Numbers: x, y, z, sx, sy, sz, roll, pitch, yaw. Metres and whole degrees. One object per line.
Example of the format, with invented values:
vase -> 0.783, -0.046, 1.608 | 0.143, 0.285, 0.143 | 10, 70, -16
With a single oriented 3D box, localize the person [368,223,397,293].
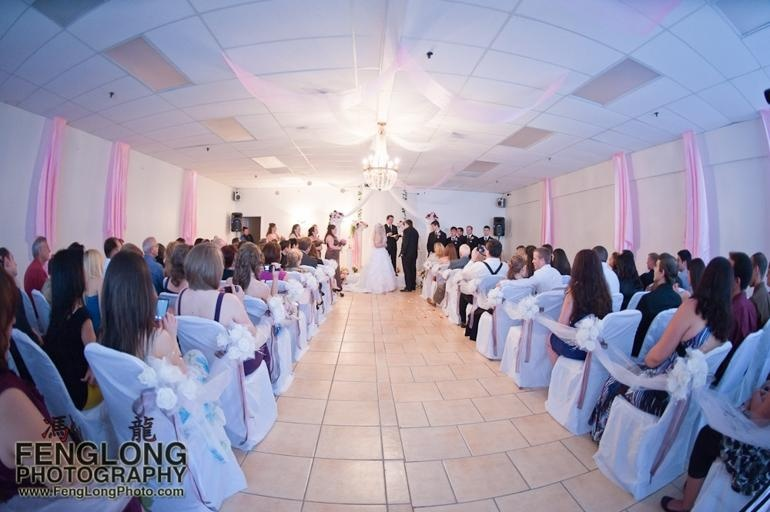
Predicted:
person -> -0.058, 0.050, 10.957 | 0.582, 1.589, 0.775 | 3, 3, 12

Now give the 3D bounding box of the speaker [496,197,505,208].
speaker -> 3.555, -1.600, 14.073 | 0.257, 0.272, 0.352 | 8, 8, -1

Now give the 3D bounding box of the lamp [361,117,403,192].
lamp -> -0.059, -1.732, 7.863 | 0.566, 1.259, 0.576 | 3, 5, 25

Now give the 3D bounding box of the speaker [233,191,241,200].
speaker -> -4.471, -1.809, 13.954 | 0.164, 0.275, 0.189 | 3, 3, 18

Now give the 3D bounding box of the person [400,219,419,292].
person -> 0.606, -0.023, 11.295 | 0.396, 1.722, 0.843 | 2, 3, 3
